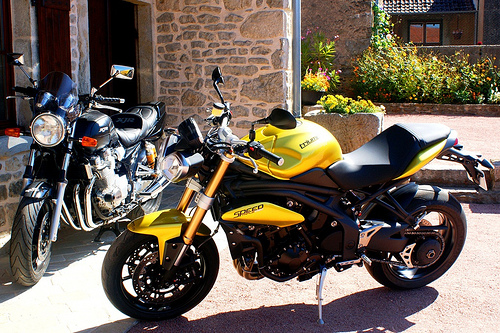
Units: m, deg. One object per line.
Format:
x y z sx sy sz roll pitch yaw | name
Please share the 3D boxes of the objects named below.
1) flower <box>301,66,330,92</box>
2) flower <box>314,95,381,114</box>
1.497 -1.887 10.326 0.572 0.424 0.421 -13 28 -2 | flower
1.810 -1.006 8.262 0.904 0.265 0.715 4 8 -8 | flower
